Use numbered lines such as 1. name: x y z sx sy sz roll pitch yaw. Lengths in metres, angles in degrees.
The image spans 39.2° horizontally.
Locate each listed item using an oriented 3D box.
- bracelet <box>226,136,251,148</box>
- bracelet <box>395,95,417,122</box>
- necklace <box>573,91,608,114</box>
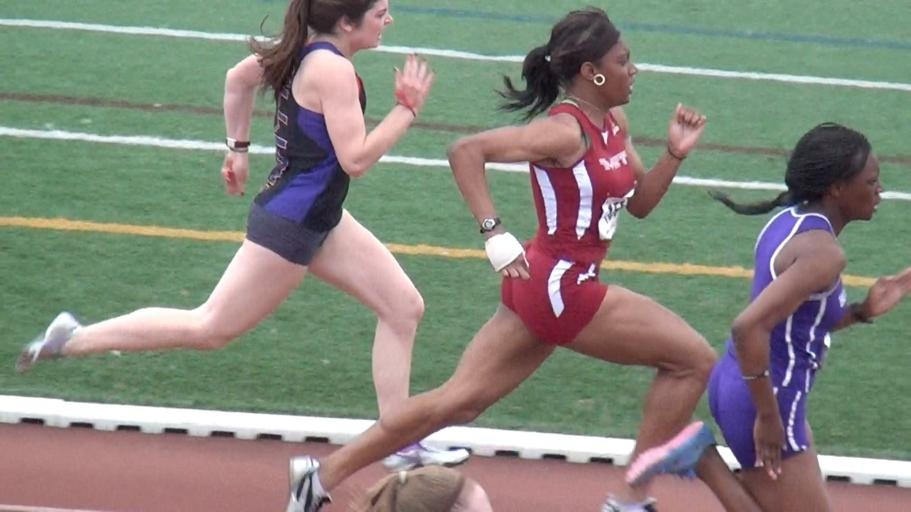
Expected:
1. bracelet: -1.837 -0.958 10.804 0.160 0.047 0.157 13 18 35
2. bracelet: -0.421 -1.192 10.249 0.214 0.079 0.161 37 -15 -19
3. necklace: 1.053 -1.226 10.186 0.248 0.047 0.166 17 2 3
